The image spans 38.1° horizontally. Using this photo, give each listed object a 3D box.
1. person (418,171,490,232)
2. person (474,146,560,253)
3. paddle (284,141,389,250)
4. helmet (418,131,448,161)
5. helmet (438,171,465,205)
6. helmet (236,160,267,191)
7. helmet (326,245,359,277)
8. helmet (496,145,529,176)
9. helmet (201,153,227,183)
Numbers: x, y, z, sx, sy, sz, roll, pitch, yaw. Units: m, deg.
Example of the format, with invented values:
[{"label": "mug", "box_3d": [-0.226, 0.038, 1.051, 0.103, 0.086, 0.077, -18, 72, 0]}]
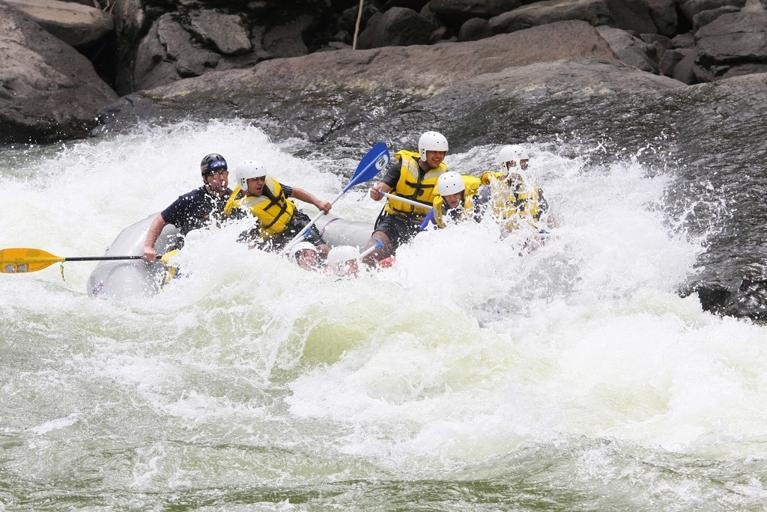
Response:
[{"label": "person", "box_3d": [0.797, -0.676, 13.613, 0.631, 0.793, 0.438, -2, -28, 32]}, {"label": "person", "box_3d": [1.579, -0.659, 13.483, 1.123, 1.240, 0.490, 6, -29, -15]}, {"label": "paddle", "box_3d": [-0.621, -0.761, 14.949, 2.563, 0.347, 0.109, -37, -9, 1]}, {"label": "helmet", "box_3d": [0.595, -1.410, 14.055, 0.320, 0.291, 0.406, 0, 15, -21]}, {"label": "helmet", "box_3d": [0.795, -0.824, 13.446, 0.328, 0.350, 0.371, -11, 20, 4]}, {"label": "helmet", "box_3d": [-1.661, -1.017, 13.896, 0.446, 0.348, 0.332, -2, 6, 27]}, {"label": "helmet", "box_3d": [-0.452, 0.052, 12.861, 0.403, 0.287, 0.311, -8, 11, 22]}, {"label": "helmet", "box_3d": [1.588, -1.177, 13.659, 0.339, 0.333, 0.410, -7, 9, -17]}, {"label": "helmet", "box_3d": [-2.127, -1.102, 13.853, 0.292, 0.332, 0.163, 8, 10, 3]}]
